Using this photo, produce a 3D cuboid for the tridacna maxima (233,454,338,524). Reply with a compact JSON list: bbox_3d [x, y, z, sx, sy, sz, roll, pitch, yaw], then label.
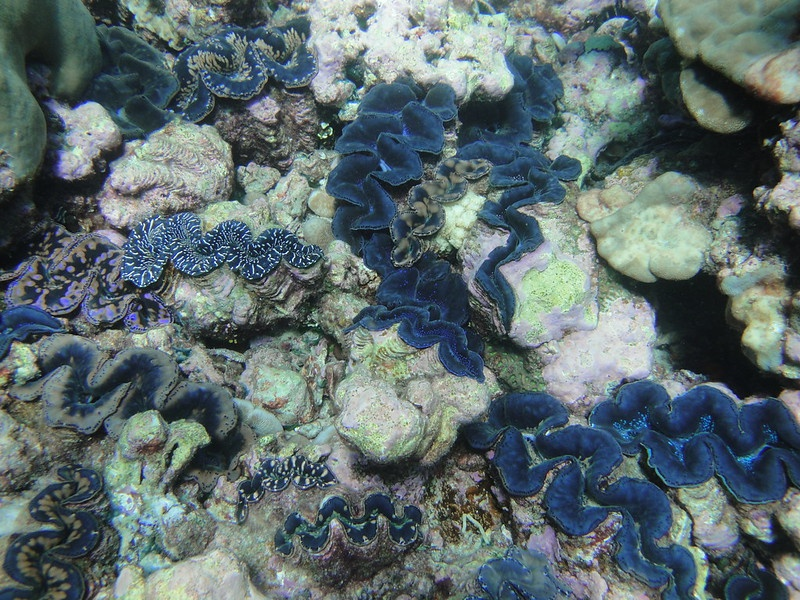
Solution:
[{"bbox_3d":[-1.172,1.815,8.773,0.963,0.233,0.520,-13,74,-9],"label":"tridacna maxima"}]
